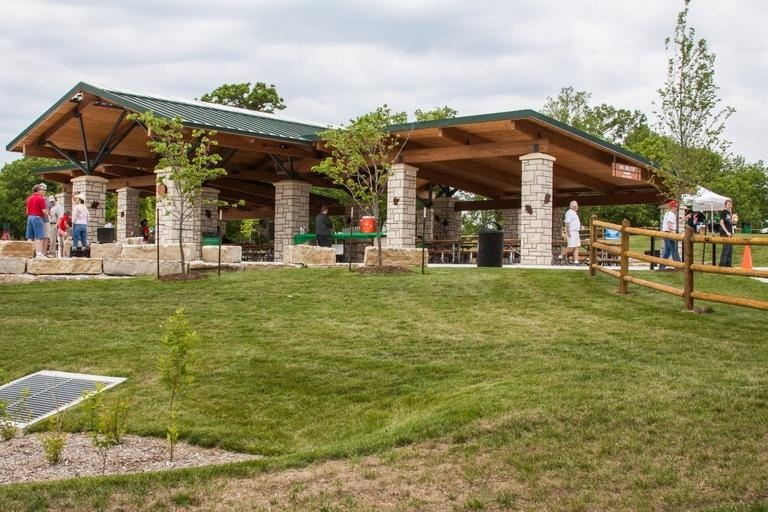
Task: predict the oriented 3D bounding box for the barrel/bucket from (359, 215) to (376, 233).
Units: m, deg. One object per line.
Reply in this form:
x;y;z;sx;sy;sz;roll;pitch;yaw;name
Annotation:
-0.584;-1.221;24.825;0.830;0.738;0.800;-1;-2;0;barrel/bucket

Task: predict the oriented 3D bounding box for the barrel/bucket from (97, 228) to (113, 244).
-9.370;-0.720;23.025;0.654;0.539;0.216;1;2;30;barrel/bucket

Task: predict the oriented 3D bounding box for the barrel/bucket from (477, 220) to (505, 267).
3.075;-0.245;19.715;0.684;1.044;0.497;0;11;12;barrel/bucket
